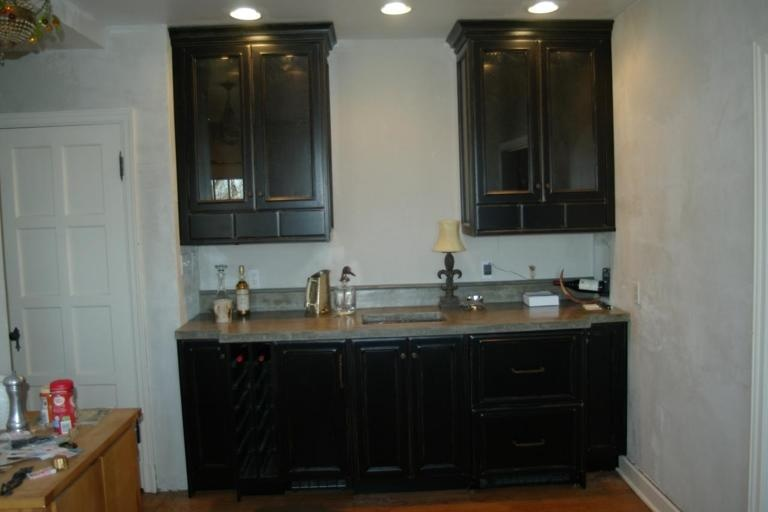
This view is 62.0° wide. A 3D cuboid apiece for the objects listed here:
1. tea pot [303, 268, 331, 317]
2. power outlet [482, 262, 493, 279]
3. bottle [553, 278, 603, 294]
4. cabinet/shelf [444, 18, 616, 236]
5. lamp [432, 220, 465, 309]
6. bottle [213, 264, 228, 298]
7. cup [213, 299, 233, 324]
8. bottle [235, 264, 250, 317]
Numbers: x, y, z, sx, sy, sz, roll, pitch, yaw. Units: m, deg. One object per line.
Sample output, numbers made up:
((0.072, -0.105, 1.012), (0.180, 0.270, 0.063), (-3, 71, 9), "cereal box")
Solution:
((-0.505, 0.280, 4.917), (0.208, 0.324, 0.215), (-3, 5, 0), "tea pot")
((0.832, 0.111, 5.079), (0.095, 0.120, 0.178), (-1, 0, 13), "power outlet")
((1.535, 0.231, 5.011), (0.387, 0.111, 0.199), (-1, 5, 23), "bottle")
((1.132, -0.958, 4.686), (1.592, 1.961, 0.717), (-1, 1, 0), "cabinet/shelf")
((0.518, 0.056, 4.989), (0.237, 0.666, 0.257), (-3, 5, 5), "lamp")
((-1.255, 0.191, 4.950), (0.098, 0.250, 0.145), (-4, 5, -12), "bottle")
((-1.179, 0.407, 4.671), (0.164, 0.193, 0.162), (0, 1, 0), "cup")
((-1.082, 0.260, 4.892), (0.120, 0.389, 0.270), (-4, 5, -13), "bottle")
